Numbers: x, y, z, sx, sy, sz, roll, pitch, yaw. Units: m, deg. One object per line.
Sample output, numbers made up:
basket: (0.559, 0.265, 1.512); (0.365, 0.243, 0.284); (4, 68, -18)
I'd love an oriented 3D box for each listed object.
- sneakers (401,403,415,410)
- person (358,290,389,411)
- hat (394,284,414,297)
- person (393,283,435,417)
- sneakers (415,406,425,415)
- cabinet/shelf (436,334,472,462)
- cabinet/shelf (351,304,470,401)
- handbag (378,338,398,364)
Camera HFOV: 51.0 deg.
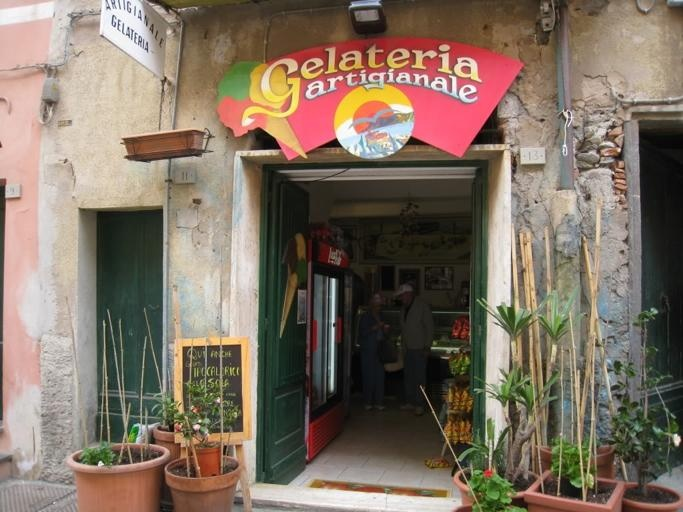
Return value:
sneakers: (0.933, 2.111, 10.110); (0.167, 0.084, 0.084); (4, -1, 4)
person: (0.423, 1.346, 10.106); (0.334, 1.606, 0.520); (-1, -5, 16)
hat: (0.863, 0.473, 9.994); (0.212, 0.124, 0.156); (-1, 0, -5)
person: (1.004, 1.264, 9.891); (0.498, 1.761, 0.590); (0, -4, 9)
sneakers: (1.072, 2.120, 9.851); (0.119, 0.116, 0.341); (0, -5, 11)
cabinet/shelf: (1.296, 1.677, 8.271); (0.479, 1.350, 1.313); (0, -2, 8)
cabinet/shelf: (0.979, 1.356, 10.071); (2.022, 1.241, 1.469); (-2, 8, -43)
handbag: (0.675, 1.419, 10.707); (0.155, 0.412, 0.387); (-11, -14, 36)
